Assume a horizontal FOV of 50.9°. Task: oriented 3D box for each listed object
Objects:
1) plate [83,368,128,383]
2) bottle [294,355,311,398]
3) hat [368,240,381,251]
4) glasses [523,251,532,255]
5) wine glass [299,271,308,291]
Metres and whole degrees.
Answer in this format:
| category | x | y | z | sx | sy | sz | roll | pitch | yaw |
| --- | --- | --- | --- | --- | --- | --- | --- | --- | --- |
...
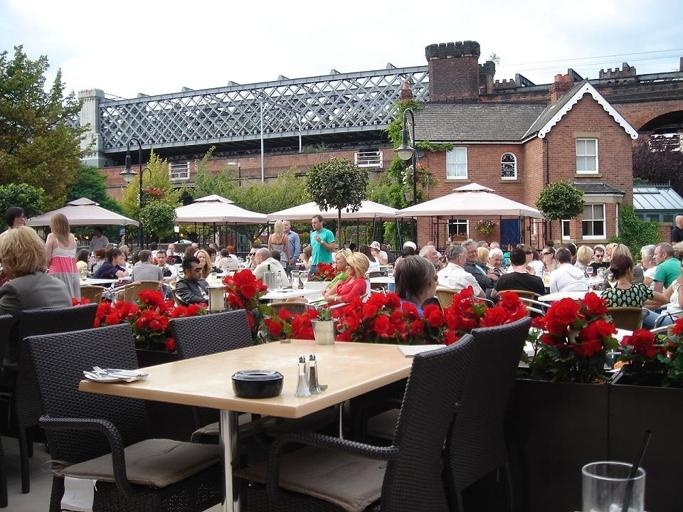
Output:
| category | x | y | z | sx | sy | sz | roll | pitch | yaw |
| --- | --- | --- | --- | --- | --- | --- | --- | --- | --- |
| plate | -1.340 | 0.676 | 4.143 | 0.268 | 0.066 | 0.187 | 0 | 3 | 1 |
| bottle | -0.200 | 0.629 | 3.855 | 0.080 | 0.206 | 0.220 | 0 | 3 | -4 |
| hat | 0.828 | -0.254 | 17.126 | 0.279 | 0.152 | 0.300 | 1 | 2 | -20 |
| glasses | 3.473 | -0.072 | 13.428 | 0.114 | 0.128 | 0.036 | 1 | 4 | -18 |
| wine glass | -0.562 | 0.364 | 10.890 | 0.151 | 0.219 | 0.080 | 0 | 1 | 19 |
